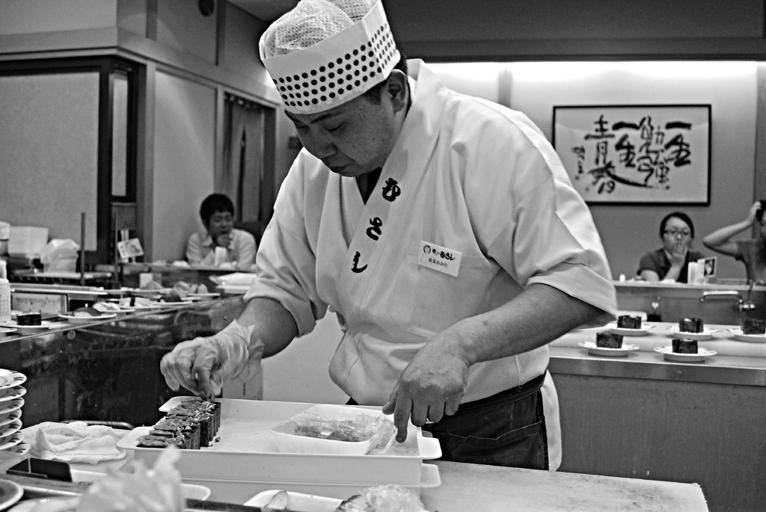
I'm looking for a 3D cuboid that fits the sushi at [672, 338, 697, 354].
[{"bbox_3d":[1.538,0.458,3.659,0.078,0.050,0.081,0,-2,0],"label":"sushi"}]

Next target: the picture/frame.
[{"bbox_3d":[2.457,-0.985,7.020,1.474,1.031,0.039,0,-5,5],"label":"picture/frame"}]

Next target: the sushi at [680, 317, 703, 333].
[{"bbox_3d":[1.755,0.389,4.095,0.093,0.061,0.092,-2,1,-42],"label":"sushi"}]

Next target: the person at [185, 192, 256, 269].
[{"bbox_3d":[-1.520,-0.210,6.731,0.554,0.880,0.506,3,11,-9],"label":"person"}]

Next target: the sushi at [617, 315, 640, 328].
[{"bbox_3d":[1.453,0.395,4.259,0.127,0.096,0.048,-2,-2,12],"label":"sushi"}]
